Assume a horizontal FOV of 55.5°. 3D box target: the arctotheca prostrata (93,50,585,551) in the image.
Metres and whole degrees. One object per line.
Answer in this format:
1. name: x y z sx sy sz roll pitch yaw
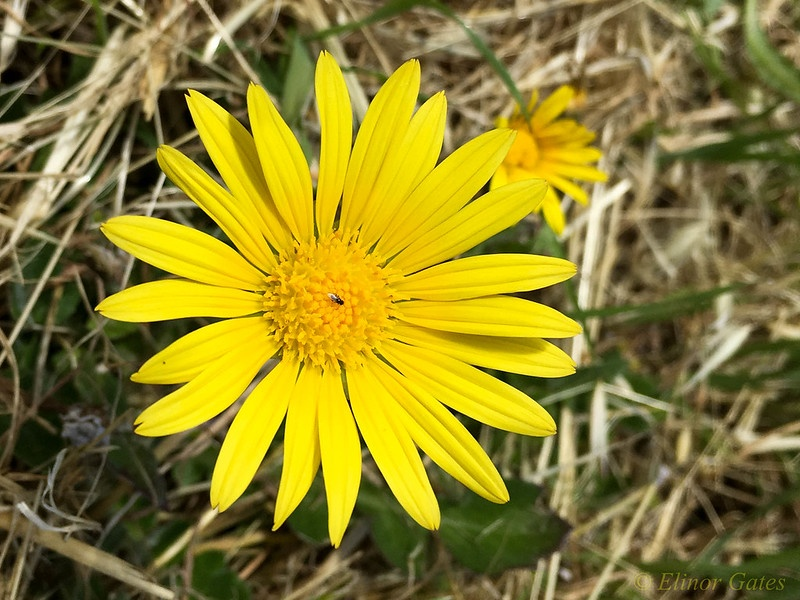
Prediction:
1. arctotheca prostrata: -0.156 -0.014 2.499 1.453 0.496 1.511 -33 87 -3
